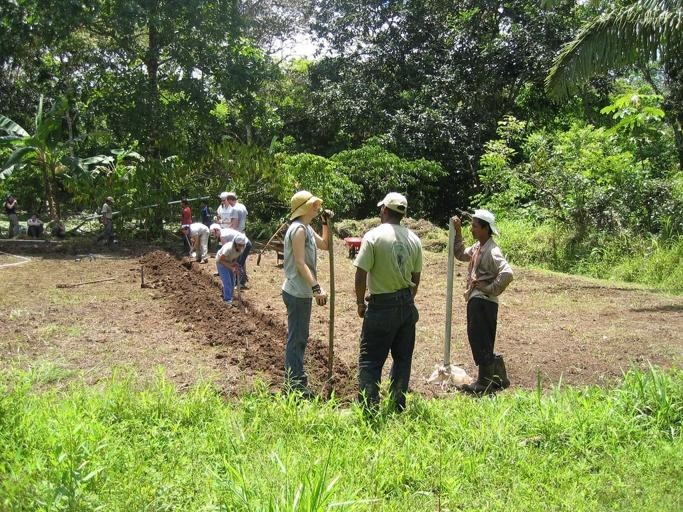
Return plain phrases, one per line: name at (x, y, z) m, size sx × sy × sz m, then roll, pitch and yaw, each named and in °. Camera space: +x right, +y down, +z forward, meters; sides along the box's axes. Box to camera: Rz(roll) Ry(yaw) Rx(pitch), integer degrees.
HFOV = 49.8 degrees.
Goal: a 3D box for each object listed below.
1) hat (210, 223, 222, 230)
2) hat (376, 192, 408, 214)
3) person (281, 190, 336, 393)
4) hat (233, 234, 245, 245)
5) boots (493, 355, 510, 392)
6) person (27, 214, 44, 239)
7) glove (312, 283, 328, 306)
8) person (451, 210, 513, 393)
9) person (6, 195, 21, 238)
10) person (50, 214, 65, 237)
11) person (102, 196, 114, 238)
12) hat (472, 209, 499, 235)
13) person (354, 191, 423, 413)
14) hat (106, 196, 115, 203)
hat at (-3.079, -0.720, 17.939) m, size 0.251 × 0.137 × 0.195 m, roll -5°, pitch 7°, yaw -5°
hat at (0.773, -0.818, 11.202) m, size 0.299 × 0.251 × 0.411 m, roll -1°, pitch 26°, yaw -27°
person at (-0.567, 0.538, 11.521) m, size 0.815 × 3.062 × 0.792 m, roll -5°, pitch 9°, yaw -35°
hat at (-2.077, -0.343, 15.239) m, size 0.197 × 0.213 × 0.367 m, roll 4°, pitch 9°, yaw 29°
boots at (2.628, 1.878, 12.153) m, size 0.231 × 0.518 × 0.508 m, roll -5°, pitch 8°, yaw 19°
person at (-10.696, -1.029, 25.599) m, size 0.524 × 0.774 × 1.453 m, roll -3°, pitch 8°, yaw -23°
glove at (-0.386, 0.617, 11.317) m, size 0.165 × 0.329 × 0.244 m, roll -32°, pitch -19°, yaw 10°
person at (2.322, 0.733, 11.813) m, size 0.747 × 2.920 × 0.497 m, roll 2°, pitch 7°, yaw 13°
person at (-11.516, -1.417, 25.661) m, size 0.403 × 1.402 × 2.264 m, roll -3°, pitch 8°, yaw -24°
person at (-9.839, -1.012, 25.435) m, size 0.402 × 0.700 × 1.067 m, roll -3°, pitch 8°, yaw -24°
person at (-7.850, -1.190, 24.575) m, size 0.321 × 1.534 × 0.770 m, roll -3°, pitch 8°, yaw -21°
hat at (2.364, -0.566, 11.746) m, size 0.460 × 0.213 × 0.506 m, roll 29°, pitch 0°, yaw -16°
person at (0.697, 0.703, 11.075) m, size 0.999 × 3.251 × 0.566 m, roll -1°, pitch 7°, yaw -5°
hat at (-7.682, -1.833, 24.405) m, size 0.251 × 0.243 × 0.220 m, roll -1°, pitch 12°, yaw -9°
